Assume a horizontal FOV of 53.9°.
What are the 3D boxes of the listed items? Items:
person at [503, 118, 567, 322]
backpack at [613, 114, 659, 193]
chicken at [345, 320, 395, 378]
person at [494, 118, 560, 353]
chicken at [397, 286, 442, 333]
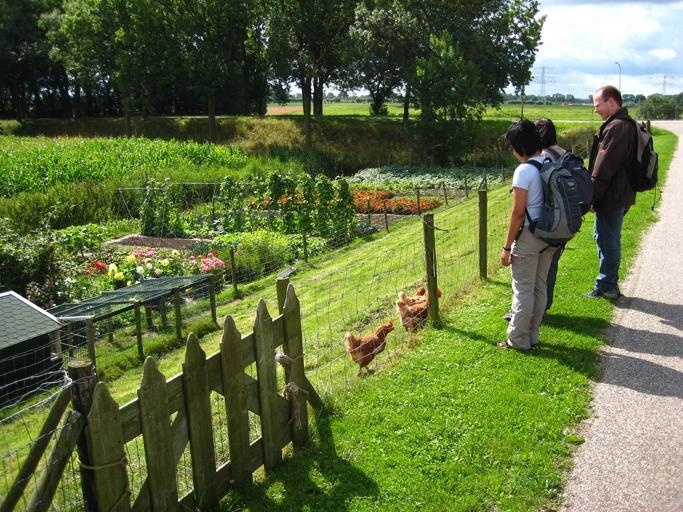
[{"bbox_3d":[2.943,-0.648,10.381,0.885,3.215,0.984,3,9,20],"label":"person"},{"bbox_3d":[4.794,-1.648,10.744,0.433,1.284,0.705,-4,10,28],"label":"backpack"},{"bbox_3d":[0.422,1.380,10.287,0.941,0.767,0.296,-7,8,-35],"label":"chicken"},{"bbox_3d":[2.702,-0.345,9.839,0.899,3.323,0.876,-10,16,-32],"label":"person"},{"bbox_3d":[1.209,0.867,11.158,0.558,0.809,0.664,16,12,37],"label":"chicken"}]
